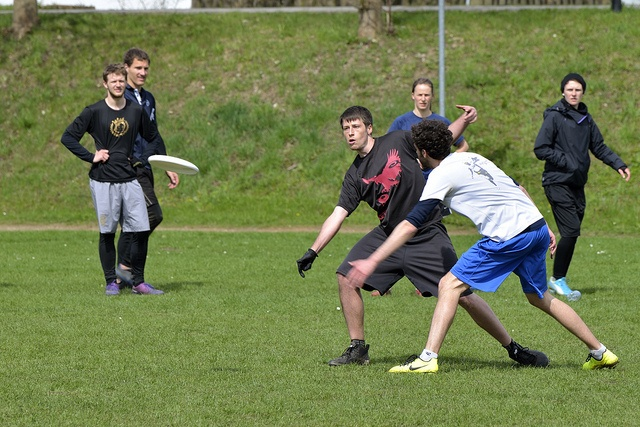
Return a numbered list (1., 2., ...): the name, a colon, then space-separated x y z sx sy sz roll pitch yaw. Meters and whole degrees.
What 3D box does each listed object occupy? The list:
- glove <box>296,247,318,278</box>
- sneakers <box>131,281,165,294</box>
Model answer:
1. glove: -0.206 0.838 19.100 0.319 0.612 0.855 2 10 -2
2. sneakers: -3.222 1.369 21.239 0.565 0.228 0.228 2 2 6
